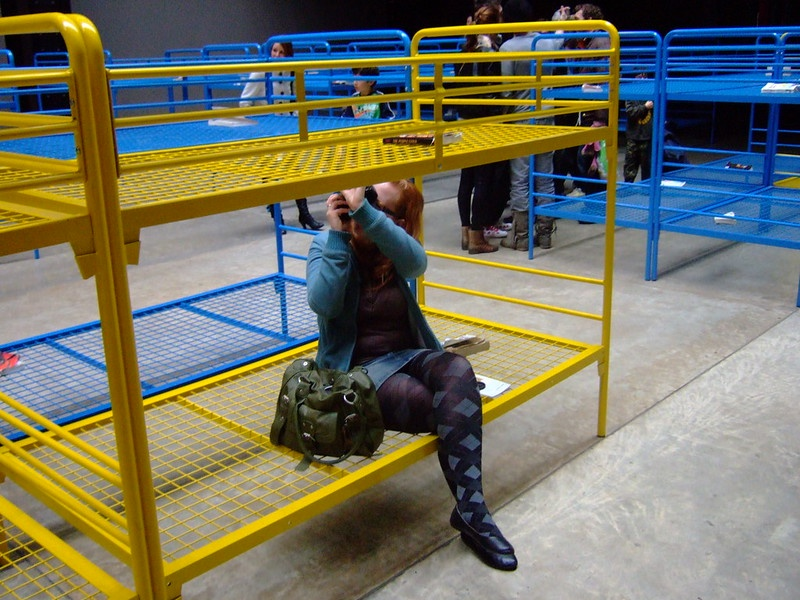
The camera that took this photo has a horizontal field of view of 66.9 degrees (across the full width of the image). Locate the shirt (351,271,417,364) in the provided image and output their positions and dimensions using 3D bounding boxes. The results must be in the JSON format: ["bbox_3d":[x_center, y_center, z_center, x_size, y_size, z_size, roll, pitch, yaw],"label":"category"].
[{"bbox_3d":[-0.084,0.074,2.716,0.322,0.368,0.222,-17,-18,-7],"label":"shirt"}]

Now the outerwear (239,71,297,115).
[{"bbox_3d":[-1.364,-2.118,6.124,0.570,0.113,0.344,-7,19,31],"label":"outerwear"}]

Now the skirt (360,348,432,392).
[{"bbox_3d":[-0.022,0.273,2.643,0.207,0.064,0.195,-22,15,-16],"label":"skirt"}]
